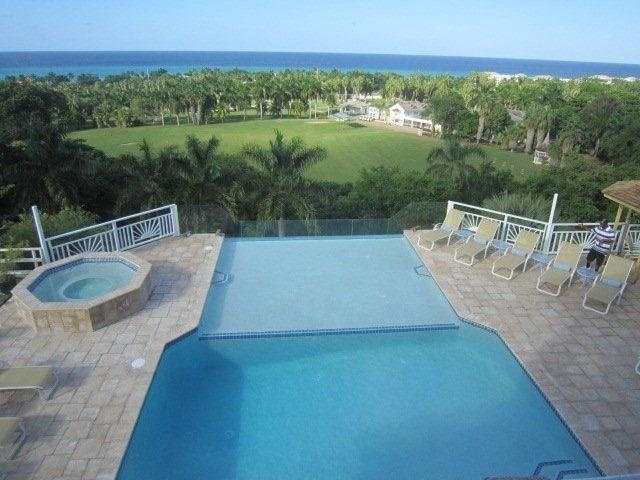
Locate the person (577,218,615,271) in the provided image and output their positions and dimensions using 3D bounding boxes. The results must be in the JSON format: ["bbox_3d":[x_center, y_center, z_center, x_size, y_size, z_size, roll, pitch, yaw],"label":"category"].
[{"bbox_3d":[7.411,0.176,11.818,0.485,1.367,0.732,-9,36,-3],"label":"person"}]
